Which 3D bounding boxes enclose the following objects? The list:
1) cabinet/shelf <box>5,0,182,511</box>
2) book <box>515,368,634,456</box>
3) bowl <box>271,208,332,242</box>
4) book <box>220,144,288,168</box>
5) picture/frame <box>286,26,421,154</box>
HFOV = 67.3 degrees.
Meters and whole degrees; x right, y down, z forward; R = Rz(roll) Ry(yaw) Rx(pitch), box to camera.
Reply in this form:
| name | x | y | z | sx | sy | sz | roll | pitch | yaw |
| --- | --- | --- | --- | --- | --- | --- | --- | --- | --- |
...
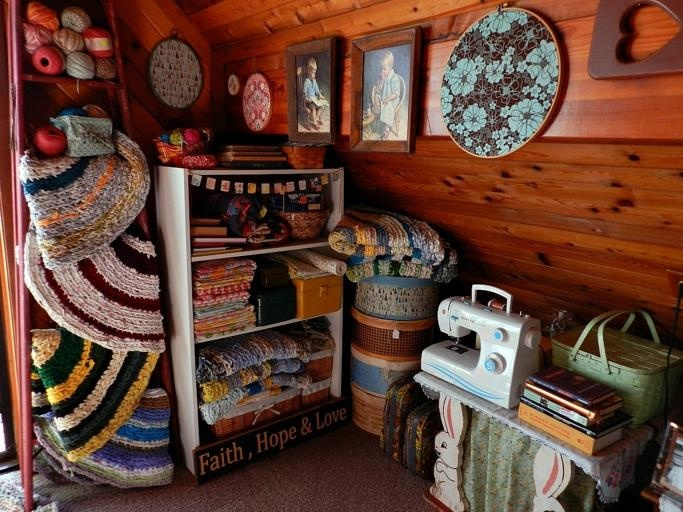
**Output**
| name | x | y | z | sx | sy | sz | roll | pitch | yaw |
| --- | --- | --- | --- | --- | --- | --- | --- | --- | --- |
| cabinet/shelf | -1.279 | 0.013 | 2.488 | 0.732 | 2.396 | 0.568 | -5 | 18 | -19 |
| book | 1.001 | 0.585 | 2.144 | 0.333 | 0.207 | 0.347 | -11 | 20 | -34 |
| bowl | -0.188 | -0.178 | 2.845 | 0.215 | 0.114 | 0.207 | -1 | 12 | 0 |
| book | -0.456 | -0.523 | 2.694 | 0.363 | 0.119 | 0.140 | -4 | 17 | -16 |
| picture/frame | 0.071 | -0.791 | 2.376 | 0.672 | 0.381 | 0.085 | 10 | 19 | 35 |
